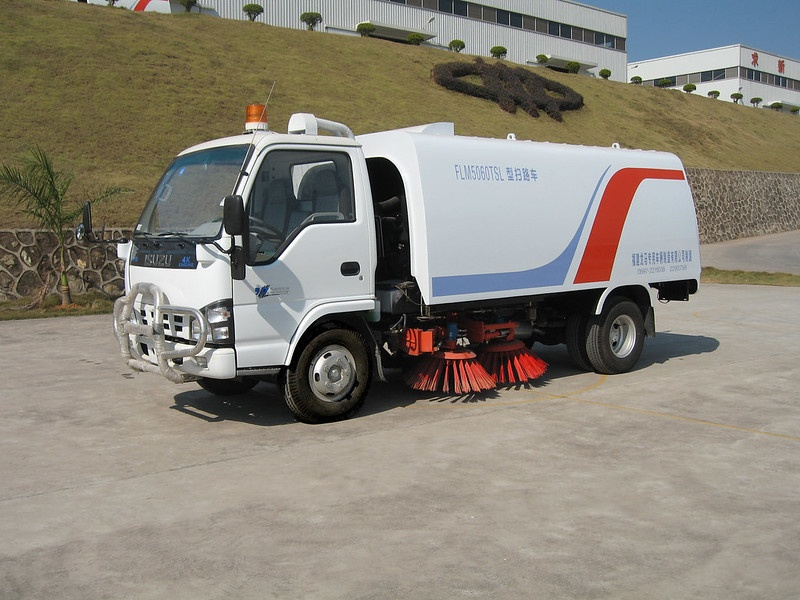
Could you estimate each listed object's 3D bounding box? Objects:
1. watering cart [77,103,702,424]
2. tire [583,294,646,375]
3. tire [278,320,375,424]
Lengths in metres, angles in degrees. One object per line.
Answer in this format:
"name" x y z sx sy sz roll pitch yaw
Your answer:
"watering cart" 0.255 -0.591 9.696 8.331 3.078 3.414 -6 5 -43
"tire" 2.980 0.482 9.744 1.301 1.203 0.433 -2 2 -39
"tire" -0.845 0.783 7.600 0.420 1.066 1.225 0 -1 43
